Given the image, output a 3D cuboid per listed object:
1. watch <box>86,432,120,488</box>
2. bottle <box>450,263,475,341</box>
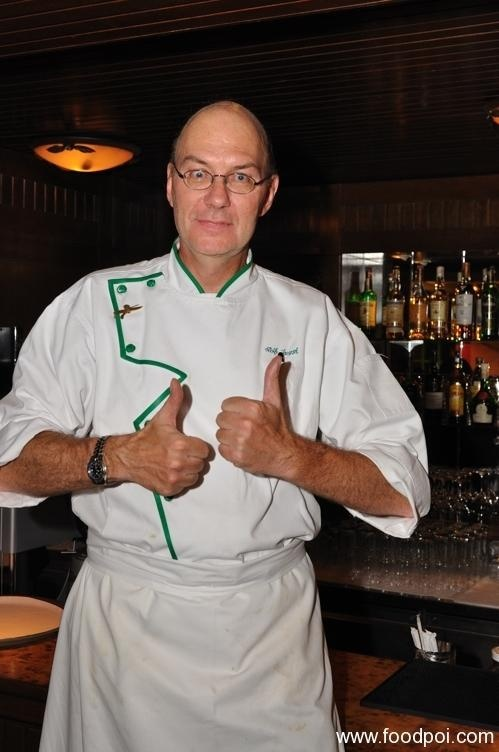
[{"bbox_3d":[-0.204,0.124,0.990,0.043,0.064,0.065,9,10,6],"label":"watch"},{"bbox_3d":[1.063,-0.361,3.468,0.113,0.397,0.281,1,0,16],"label":"bottle"}]
